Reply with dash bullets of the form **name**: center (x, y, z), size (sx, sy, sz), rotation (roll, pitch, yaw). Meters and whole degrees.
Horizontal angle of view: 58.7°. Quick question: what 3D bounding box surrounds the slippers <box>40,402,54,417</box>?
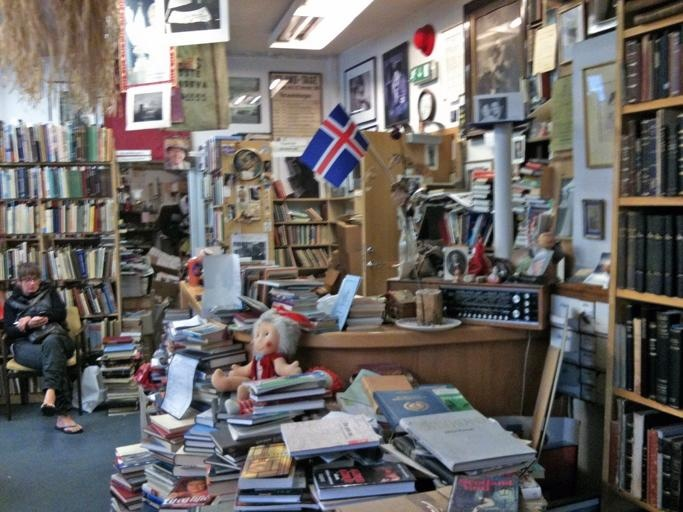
- **slippers**: center (-2.591, 1.363, 5.370), size (0.100, 0.069, 0.180), rotation (2, -5, -19)

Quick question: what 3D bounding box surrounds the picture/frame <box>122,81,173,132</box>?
- **picture/frame**: center (-1.114, -0.882, 3.511), size (0.364, 0.333, 0.030), rotation (-2, -12, 4)

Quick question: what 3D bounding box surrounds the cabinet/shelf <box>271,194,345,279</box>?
- **cabinet/shelf**: center (-0.430, -0.251, 7.952), size (1.181, 1.292, 0.377), rotation (0, -3, -13)

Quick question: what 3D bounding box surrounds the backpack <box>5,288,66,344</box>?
- **backpack**: center (-2.885, 0.524, 5.700), size (0.496, 0.203, 0.563), rotation (-8, 39, -18)

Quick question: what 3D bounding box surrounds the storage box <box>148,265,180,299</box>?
- **storage box**: center (-2.376, 0.337, 8.186), size (0.432, 0.265, 0.421), rotation (2, 11, -38)

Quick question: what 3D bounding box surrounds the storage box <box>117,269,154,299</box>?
- **storage box**: center (-2.429, 0.323, 7.152), size (0.484, 0.330, 0.260), rotation (0, 0, -36)
